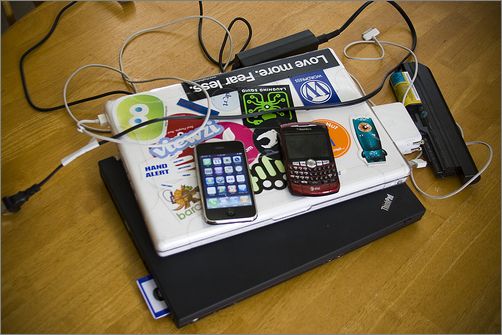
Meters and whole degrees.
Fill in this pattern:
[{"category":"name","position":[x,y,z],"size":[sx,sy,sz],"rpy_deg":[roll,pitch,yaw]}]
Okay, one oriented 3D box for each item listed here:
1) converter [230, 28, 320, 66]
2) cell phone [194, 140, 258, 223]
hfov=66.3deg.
[{"category":"converter","position":[0.073,-0.282,0.939],"size":[0.266,0.062,0.049],"rpy_deg":[-19,-23,-9]},{"category":"cell phone","position":[-0.050,0.030,0.708],"size":[0.122,0.093,0.160],"rpy_deg":[-2,33,-8]}]
